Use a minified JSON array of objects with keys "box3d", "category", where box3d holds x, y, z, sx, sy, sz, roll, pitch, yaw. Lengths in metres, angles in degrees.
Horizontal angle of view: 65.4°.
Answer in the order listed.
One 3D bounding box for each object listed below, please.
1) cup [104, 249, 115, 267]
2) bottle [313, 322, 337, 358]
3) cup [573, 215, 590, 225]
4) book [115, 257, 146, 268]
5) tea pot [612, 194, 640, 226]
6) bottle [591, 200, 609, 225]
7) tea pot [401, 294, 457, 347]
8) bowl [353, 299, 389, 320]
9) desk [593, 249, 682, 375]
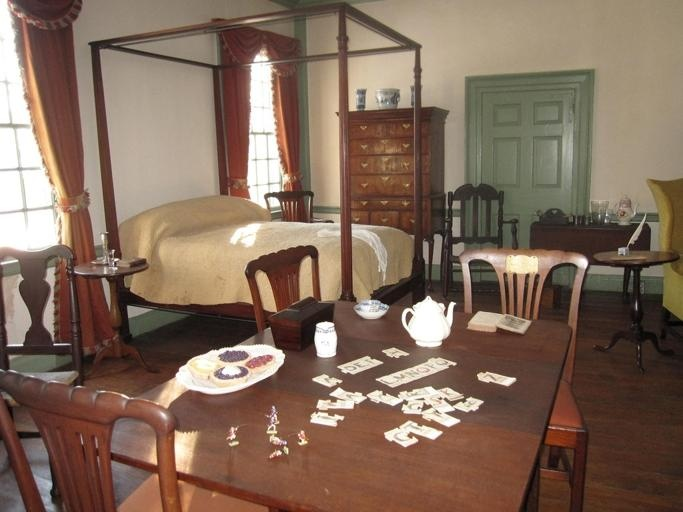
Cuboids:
[{"box3d":[-1.977,0.015,4.572,0.118,0.146,0.149,0,17,-17],"category":"cup"},{"box3d":[-0.066,0.375,2.407,0.109,0.150,0.150,3,15,13],"category":"bottle"},{"box3d":[2.889,-0.439,6.383,0.245,0.155,0.148,0,9,13],"category":"cup"},{"box3d":[-1.815,0.055,4.591,0.173,0.065,0.253,6,15,27],"category":"book"},{"box3d":[3.357,-0.573,6.348,0.276,0.372,0.685,7,16,28],"category":"tea pot"},{"box3d":[3.047,-0.523,6.320,0.218,0.264,0.267,-2,15,-4],"category":"bottle"},{"box3d":[0.418,0.249,2.550,0.311,0.235,0.217,0,17,10],"category":"tea pot"},{"box3d":[0.147,0.283,2.829,0.119,0.035,0.119,0,8,0],"category":"bowl"},{"box3d":[2.679,0.420,4.813,0.914,0.953,0.572,-11,17,-34],"category":"desk"}]
